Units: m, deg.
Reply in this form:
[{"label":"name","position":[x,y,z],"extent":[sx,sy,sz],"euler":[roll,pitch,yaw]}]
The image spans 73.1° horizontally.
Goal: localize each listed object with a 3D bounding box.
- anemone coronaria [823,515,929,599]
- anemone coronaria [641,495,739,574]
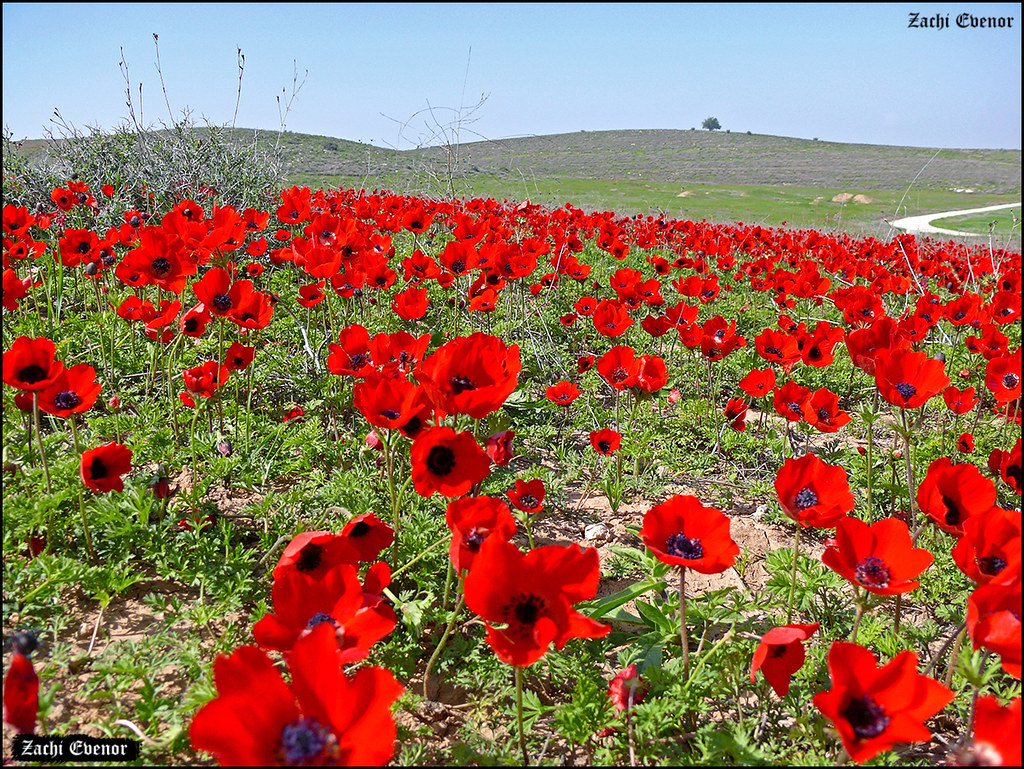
[{"label":"anemone coronaria","position":[1.211,0.623,2.318],"extent":[0.329,0.116,0.288],"euler":[-16,38,-25]},{"label":"anemone coronaria","position":[0.617,0.583,2.489],"extent":[0.366,0.151,0.389],"euler":[33,-7,12]}]
